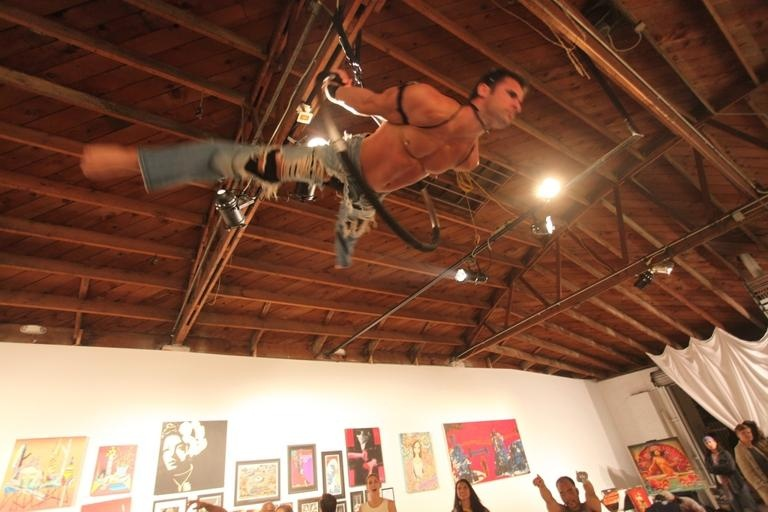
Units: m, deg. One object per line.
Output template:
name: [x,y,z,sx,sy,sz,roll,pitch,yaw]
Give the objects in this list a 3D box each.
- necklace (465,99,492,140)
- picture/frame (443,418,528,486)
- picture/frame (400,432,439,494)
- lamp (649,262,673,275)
necklace: [0.665,-1.044,3.699,0.086,0.267,0.294,-41,-21,9]
picture/frame: [1.875,3.809,9.206,2.333,1.021,0.074,8,-42,-34]
picture/frame: [0.606,3.635,8.478,0.695,0.988,0.160,14,-41,-34]
lamp: [4.441,0.218,7.684,0.479,0.144,0.329,-6,-13,20]
